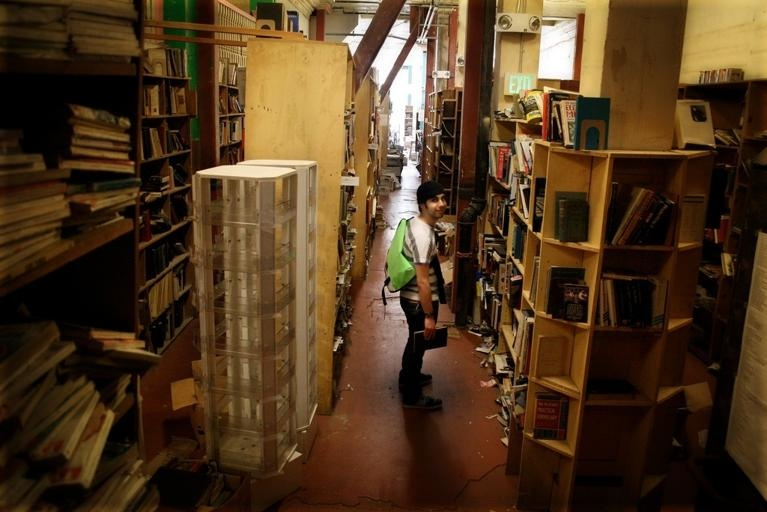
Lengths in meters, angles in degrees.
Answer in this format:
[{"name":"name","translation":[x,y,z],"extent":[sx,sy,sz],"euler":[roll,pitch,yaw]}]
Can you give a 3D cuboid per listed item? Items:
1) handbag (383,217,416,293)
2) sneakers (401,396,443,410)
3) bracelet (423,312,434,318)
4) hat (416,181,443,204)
[{"name":"handbag","translation":[0.131,0.035,5.208],"extent":[0.205,0.570,0.427],"euler":[5,14,-11]},{"name":"sneakers","translation":[0.373,1.374,5.352],"extent":[0.359,0.142,0.132],"euler":[0,6,-1]},{"name":"bracelet","translation":[0.406,0.524,5.105],"extent":[0.062,0.041,0.077],"euler":[2,6,-1]},{"name":"hat","translation":[0.423,-0.582,5.206],"extent":[0.215,0.183,0.201],"euler":[4,9,2]}]
